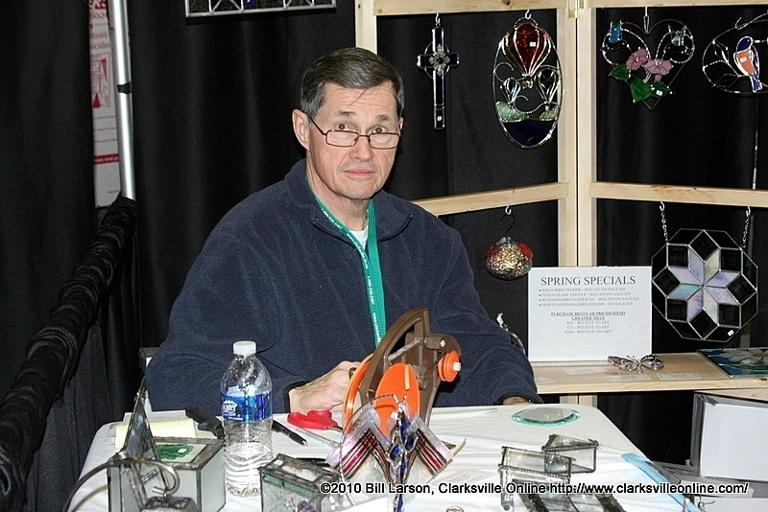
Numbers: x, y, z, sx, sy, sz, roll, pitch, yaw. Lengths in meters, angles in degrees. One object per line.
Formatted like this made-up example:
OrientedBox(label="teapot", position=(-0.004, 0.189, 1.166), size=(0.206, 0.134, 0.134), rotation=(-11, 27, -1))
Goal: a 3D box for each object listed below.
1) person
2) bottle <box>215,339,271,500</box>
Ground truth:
OrientedBox(label="person", position=(-0.147, -0.038, 2.557), size=(1.420, 1.182, 0.865), rotation=(-1, 5, -28))
OrientedBox(label="bottle", position=(-0.355, 0.433, 1.779), size=(0.135, 0.325, 0.337), rotation=(-1, 5, -13))
